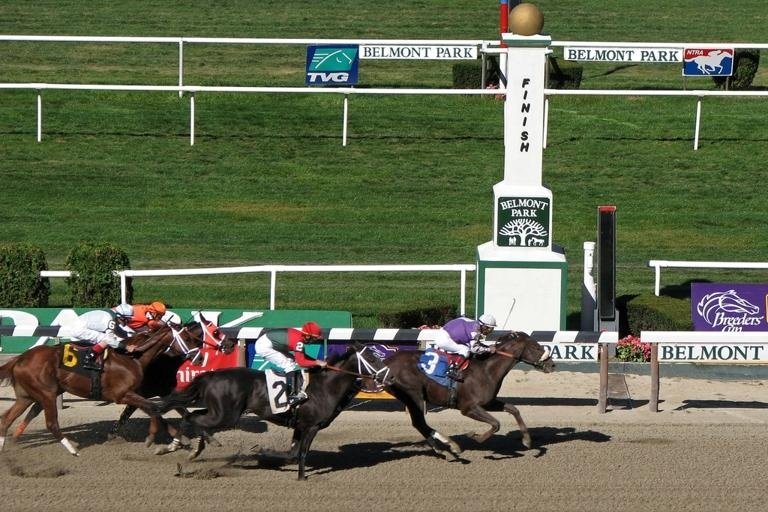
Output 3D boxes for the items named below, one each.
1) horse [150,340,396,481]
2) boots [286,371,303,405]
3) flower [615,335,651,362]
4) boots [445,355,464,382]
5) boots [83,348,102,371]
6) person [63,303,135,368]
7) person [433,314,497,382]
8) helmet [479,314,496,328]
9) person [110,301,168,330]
[{"bbox_3d":[-1.919,2.498,27.680,4.288,1.929,0.779,2,-5,20],"label":"horse"},{"bbox_3d":[-1.463,2.138,27.290,0.293,0.557,0.133,0,2,-4],"label":"boots"},{"bbox_3d":[4.539,1.667,30.304,0.597,0.460,0.305,0,2,6],"label":"flower"},{"bbox_3d":[1.216,1.829,27.746,0.289,0.430,0.128,0,2,2],"label":"boots"},{"bbox_3d":[-4.844,1.697,27.617,0.437,0.350,0.259,7,-14,-6],"label":"boots"},{"bbox_3d":[-4.576,1.285,27.750,1.405,0.985,0.808,3,19,-15],"label":"person"},{"bbox_3d":[1.351,1.507,27.896,1.008,1.062,0.353,-1,3,-22],"label":"person"},{"bbox_3d":[1.764,1.081,28.015,0.288,0.137,0.192,8,32,-18],"label":"helmet"},{"bbox_3d":[-4.114,0.974,28.139,0.832,0.406,0.300,0,-33,-12],"label":"person"}]
